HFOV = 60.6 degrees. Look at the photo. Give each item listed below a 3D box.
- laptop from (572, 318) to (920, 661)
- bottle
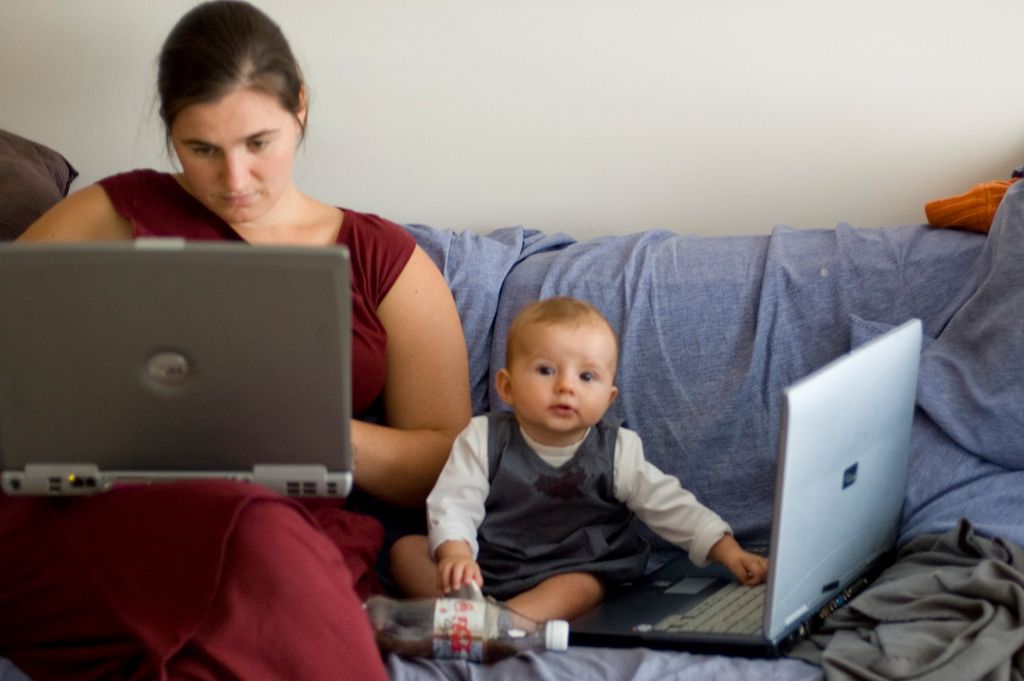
[{"bbox_3d":[0.450,0.279,1.670,0.444,0.485,0.602,3,7,44],"label":"laptop"},{"bbox_3d":[-0.083,0.489,1.524,0.434,0.120,0.120,3,10,2],"label":"bottle"}]
